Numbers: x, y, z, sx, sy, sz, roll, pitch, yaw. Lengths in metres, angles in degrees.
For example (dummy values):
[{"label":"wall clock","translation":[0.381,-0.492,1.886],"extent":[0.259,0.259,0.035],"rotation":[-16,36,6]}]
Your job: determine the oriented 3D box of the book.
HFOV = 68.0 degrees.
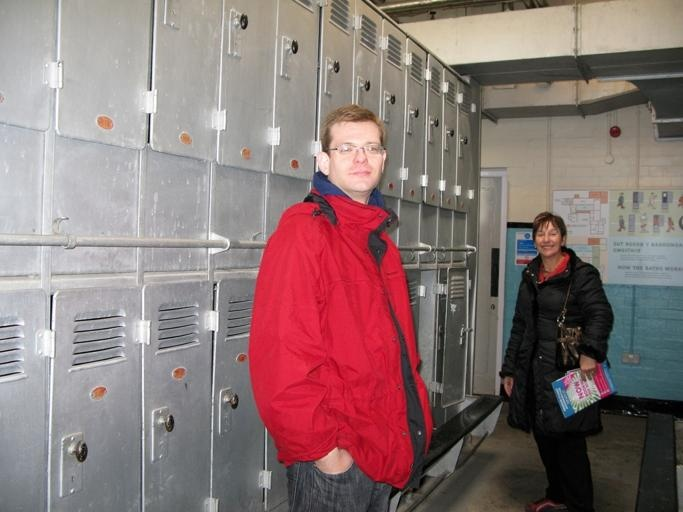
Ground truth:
[{"label":"book","translation":[1.629,0.905,3.503],"extent":[0.410,0.333,0.127],"rotation":[-24,0,-1]}]
